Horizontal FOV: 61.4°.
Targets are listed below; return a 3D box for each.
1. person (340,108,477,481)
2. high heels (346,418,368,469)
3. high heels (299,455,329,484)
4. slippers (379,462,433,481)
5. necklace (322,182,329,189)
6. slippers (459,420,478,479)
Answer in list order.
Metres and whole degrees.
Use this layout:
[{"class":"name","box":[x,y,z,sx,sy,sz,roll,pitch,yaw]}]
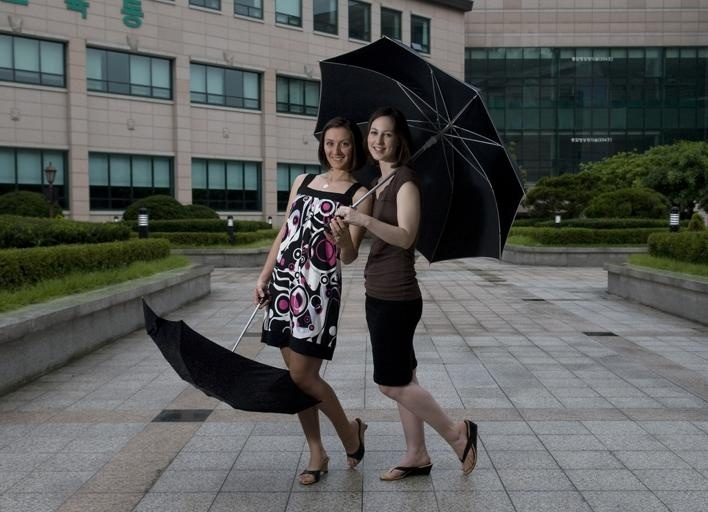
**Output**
[{"class":"person","box":[0.325,0.320,4.304,1.001,2.724,0.464,-3,6,-21]},{"class":"high heels","box":[0.017,1.469,4.620,0.123,0.423,0.115,-7,14,-45]},{"class":"high heels","box":[-0.300,1.624,4.484,0.114,0.111,0.282,-4,-10,25]},{"class":"slippers","box":[0.395,1.626,4.513,0.376,0.097,0.141,0,-3,-9]},{"class":"necklace","box":[-0.211,-0.506,4.317,0.030,0.039,0.010,1,-19,2]},{"class":"slippers","box":[0.875,1.452,4.495,0.098,0.396,0.143,-8,13,-43]}]
